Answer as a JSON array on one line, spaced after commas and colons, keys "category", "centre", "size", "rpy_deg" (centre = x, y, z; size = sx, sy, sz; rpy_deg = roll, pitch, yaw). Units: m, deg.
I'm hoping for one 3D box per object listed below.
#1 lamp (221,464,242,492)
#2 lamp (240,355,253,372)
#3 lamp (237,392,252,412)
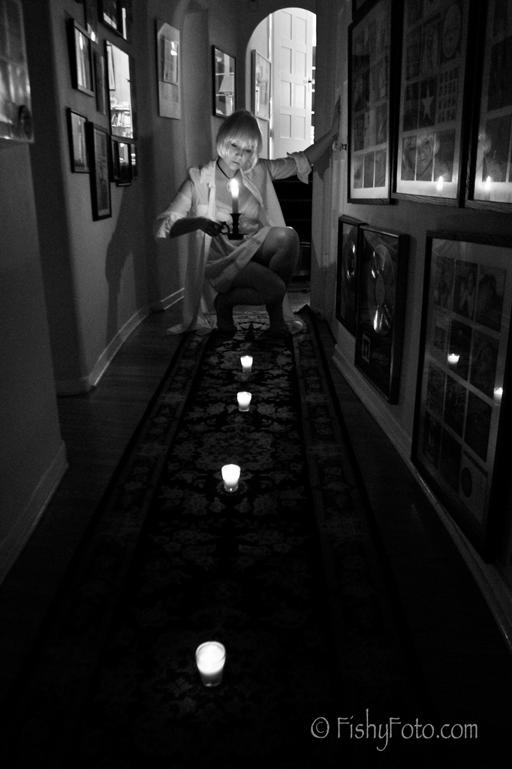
[{"category": "lamp", "centre": [-0.097, 0.354, 1.654], "size": [0.073, 0.106, 0.146], "rpy_deg": [-1, 5, -3]}, {"category": "lamp", "centre": [-0.066, -0.156, 3.088], "size": [0.085, 0.119, 0.214], "rpy_deg": [-1, 5, -1]}, {"category": "lamp", "centre": [-0.066, 0.093, 2.472], "size": [0.087, 0.105, 0.174], "rpy_deg": [-1, 5, -2]}]
